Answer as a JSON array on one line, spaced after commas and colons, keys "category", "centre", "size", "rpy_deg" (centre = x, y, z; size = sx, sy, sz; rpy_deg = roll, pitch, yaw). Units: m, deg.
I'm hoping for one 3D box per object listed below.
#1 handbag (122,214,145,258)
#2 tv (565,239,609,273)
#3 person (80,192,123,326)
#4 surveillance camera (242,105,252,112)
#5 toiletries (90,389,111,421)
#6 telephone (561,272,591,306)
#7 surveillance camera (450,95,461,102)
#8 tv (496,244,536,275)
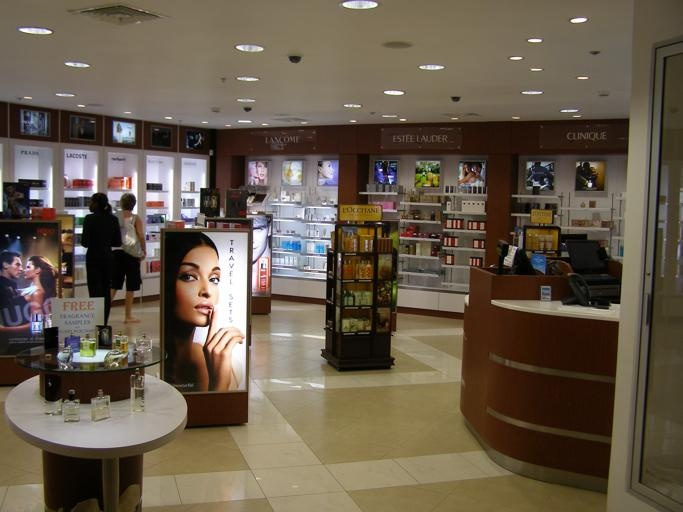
[{"category": "handbag", "centre": [-3.669, -0.338, 9.566], "size": [0.378, 0.733, 0.636], "rpy_deg": [-4, 9, -13]}, {"category": "tv", "centre": [2.805, 0.000, 6.180], "size": [0.500, 0.353, 0.301], "rpy_deg": [-2, 8, -31]}, {"category": "person", "centre": [-3.778, 0.004, 8.496], "size": [0.522, 1.955, 0.629], "rpy_deg": [0, 6, -12]}, {"category": "surveillance camera", "centre": [-1.749, -2.760, 10.165], "size": [0.110, 0.077, 0.115], "rpy_deg": [1, 2, 14]}, {"category": "toiletries", "centre": [-1.655, 1.025, 3.729], "size": [0.083, 0.252, 0.161], "rpy_deg": [1, 2, 37]}, {"category": "telephone", "centre": [2.412, 0.337, 5.469], "size": [0.317, 0.336, 0.247], "rpy_deg": [4, 14, 20]}, {"category": "surveillance camera", "centre": [1.798, -2.477, 8.541], "size": [0.087, 0.058, 0.090], "rpy_deg": [0, 0, -5]}, {"category": "tv", "centre": [1.933, 0.038, 6.084], "size": [0.332, 0.360, 0.571], "rpy_deg": [0, 7, -19]}]
